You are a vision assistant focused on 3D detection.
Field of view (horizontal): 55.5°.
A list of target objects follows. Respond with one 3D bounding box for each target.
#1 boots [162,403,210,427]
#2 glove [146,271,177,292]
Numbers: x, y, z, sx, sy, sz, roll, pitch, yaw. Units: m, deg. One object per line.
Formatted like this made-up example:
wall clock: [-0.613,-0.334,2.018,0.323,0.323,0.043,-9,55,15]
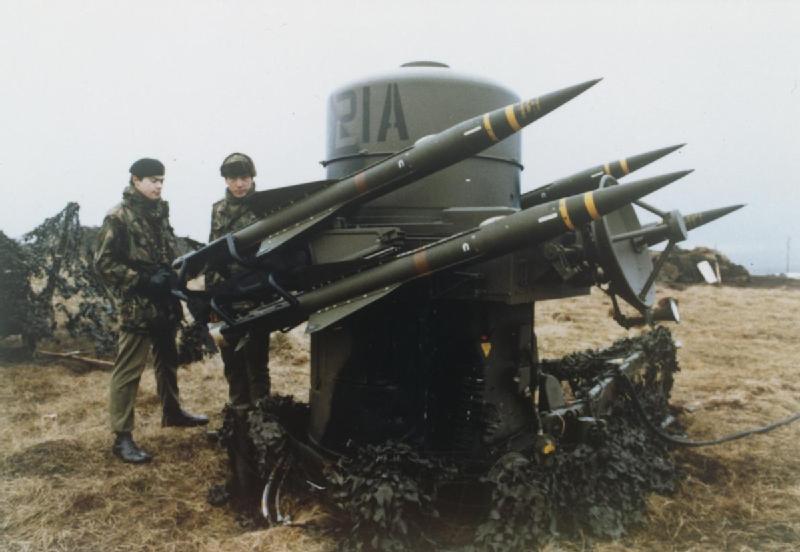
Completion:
boots: [-3.781,2.492,13.595,0.913,0.446,0.326,0,-1,-17]
glove: [-3.872,0.114,12.243,0.598,0.307,0.195,-5,-6,21]
